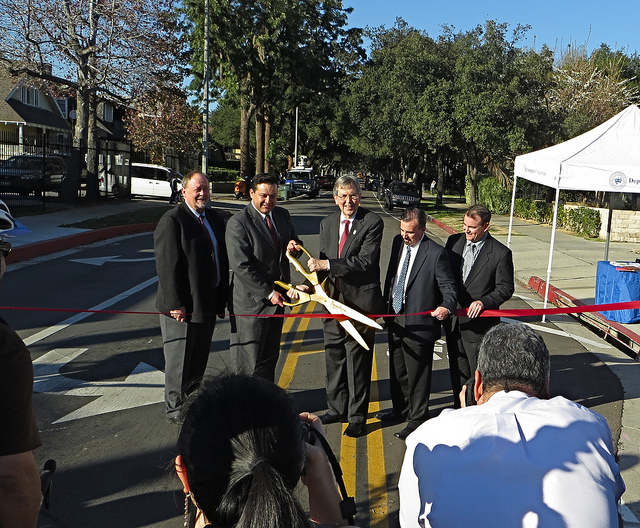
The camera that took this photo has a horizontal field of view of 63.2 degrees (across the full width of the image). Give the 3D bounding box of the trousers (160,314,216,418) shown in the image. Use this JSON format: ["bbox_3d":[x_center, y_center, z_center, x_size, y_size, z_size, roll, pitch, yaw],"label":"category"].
[{"bbox_3d":[-1.281,0.973,5.063,0.380,1.032,0.475,8,11,38],"label":"trousers"}]

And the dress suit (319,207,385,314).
[{"bbox_3d":[0.289,-0.041,5.232,0.571,1.067,0.552,10,25,30],"label":"dress suit"}]

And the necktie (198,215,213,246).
[{"bbox_3d":[-1.097,-0.322,4.992,0.076,0.268,0.017,3,-31,-45],"label":"necktie"}]

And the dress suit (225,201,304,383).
[{"bbox_3d":[-0.550,0.188,5.029,0.489,2.492,0.934,4,7,22],"label":"dress suit"}]

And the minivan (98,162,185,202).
[{"bbox_3d":[-10.475,-4.912,30.421,4.310,1.922,2.426,-4,11,-32],"label":"minivan"}]

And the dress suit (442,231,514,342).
[{"bbox_3d":[1.684,0.157,5.451,0.652,1.340,0.827,9,9,23],"label":"dress suit"}]

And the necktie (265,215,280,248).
[{"bbox_3d":[-0.472,-0.316,5.134,0.056,0.398,0.023,-1,48,9],"label":"necktie"}]

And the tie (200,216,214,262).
[{"bbox_3d":[-1.081,-0.255,5.008,0.076,0.028,0.561,1,54,-47],"label":"tie"}]

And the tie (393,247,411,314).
[{"bbox_3d":[0.849,0.062,5.349,0.132,0.060,1.187,-8,38,24],"label":"tie"}]

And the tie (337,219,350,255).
[{"bbox_3d":[0.244,-0.283,5.160,0.056,0.519,0.023,7,-19,23],"label":"tie"}]
